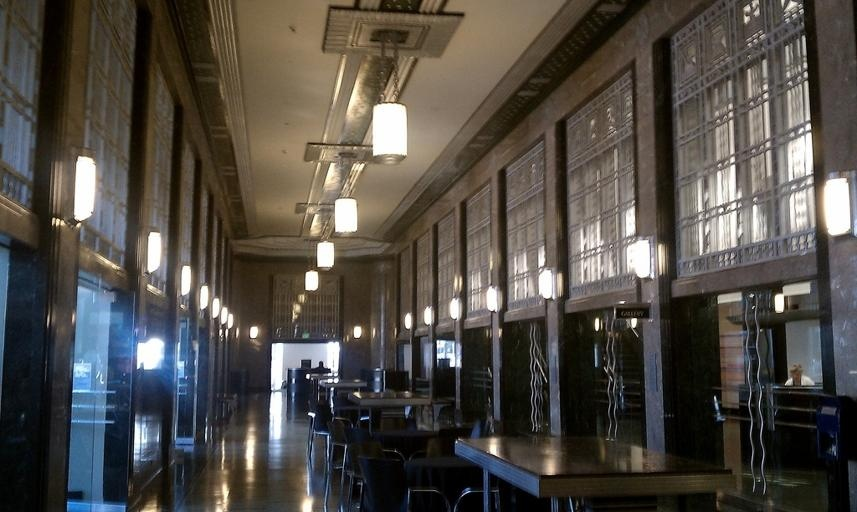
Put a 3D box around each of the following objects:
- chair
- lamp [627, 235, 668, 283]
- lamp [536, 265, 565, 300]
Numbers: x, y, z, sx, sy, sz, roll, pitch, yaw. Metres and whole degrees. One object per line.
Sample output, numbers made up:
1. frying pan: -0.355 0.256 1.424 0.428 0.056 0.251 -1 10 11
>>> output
1. chair: 1.204 2.510 8.227 2.069 1.215 4.827 2 -17 -10
2. lamp: 2.978 -0.002 9.121 0.215 0.610 0.420 7 -19 -28
3. lamp: 2.086 0.464 11.594 0.206 0.601 0.513 7 -18 -26
